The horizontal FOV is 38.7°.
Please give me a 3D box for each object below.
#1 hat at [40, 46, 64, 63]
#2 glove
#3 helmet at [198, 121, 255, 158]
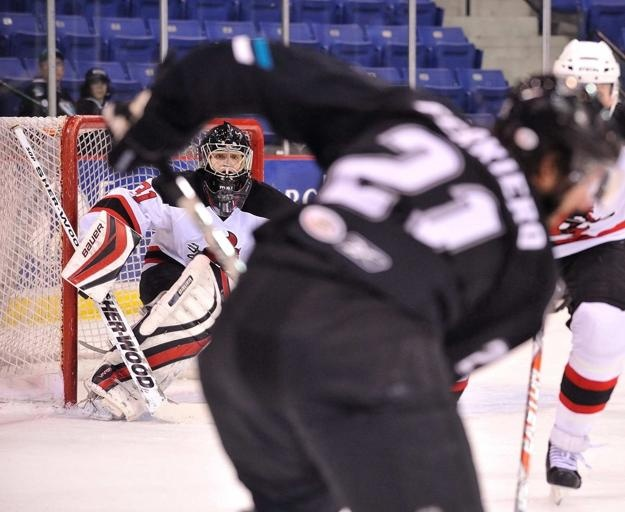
[{"bbox_3d":[-1.782,-1.367,6.065,0.154,0.130,0.101,-1,7,-7],"label":"hat"},{"bbox_3d":[-0.283,-0.203,1.540,0.152,0.131,0.064,-4,-1,9],"label":"glove"},{"bbox_3d":[-0.364,-0.493,3.679,0.170,0.149,0.183,4,13,-2],"label":"helmet"}]
